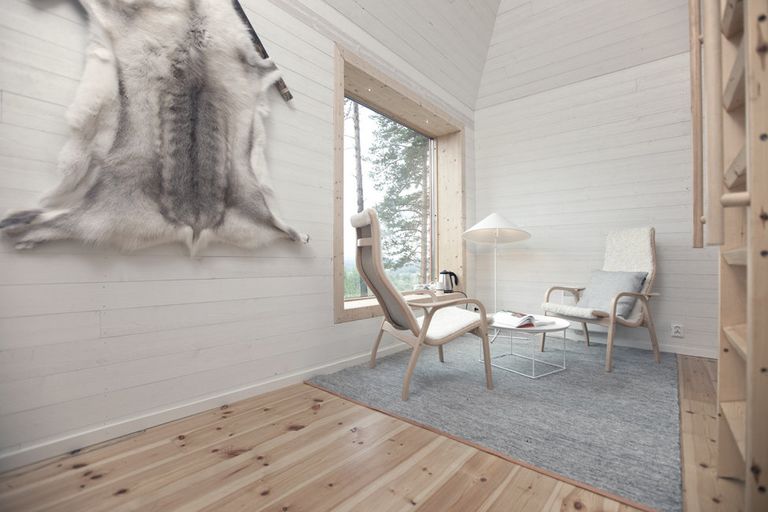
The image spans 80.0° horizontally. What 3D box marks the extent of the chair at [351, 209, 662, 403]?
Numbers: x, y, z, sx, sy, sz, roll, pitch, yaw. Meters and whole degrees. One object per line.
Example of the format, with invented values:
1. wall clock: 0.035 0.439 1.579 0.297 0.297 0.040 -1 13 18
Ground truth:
1. chair: 1.242 0.262 4.381 3.761 1.654 1.140 0 -1 -29

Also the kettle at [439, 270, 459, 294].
1. kettle: 0.703 0.269 5.002 0.268 0.245 0.175 2 -3 -16

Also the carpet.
1. carpet: 1.014 1.016 3.486 2.196 0.192 1.917 4 7 33
